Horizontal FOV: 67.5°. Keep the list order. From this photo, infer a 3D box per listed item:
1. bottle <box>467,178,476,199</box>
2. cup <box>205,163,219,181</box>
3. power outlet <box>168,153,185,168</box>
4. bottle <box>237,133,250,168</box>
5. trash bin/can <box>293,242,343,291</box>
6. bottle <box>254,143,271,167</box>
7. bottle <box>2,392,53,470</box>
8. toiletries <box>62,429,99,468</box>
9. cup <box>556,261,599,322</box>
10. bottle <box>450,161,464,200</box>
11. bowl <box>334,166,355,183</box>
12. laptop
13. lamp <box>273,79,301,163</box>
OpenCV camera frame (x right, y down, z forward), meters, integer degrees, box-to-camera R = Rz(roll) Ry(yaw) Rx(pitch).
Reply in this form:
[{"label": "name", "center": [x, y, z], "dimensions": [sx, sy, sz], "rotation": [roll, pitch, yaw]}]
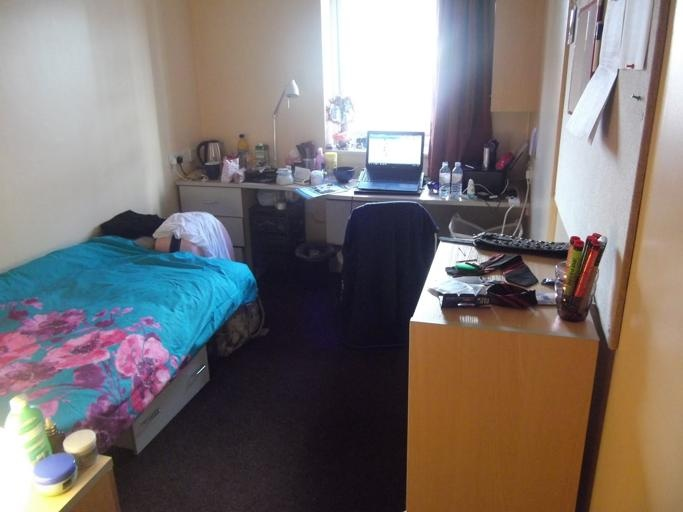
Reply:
[{"label": "bottle", "center": [0.889, -0.461, 3.488], "dimensions": [0.063, 0.108, 0.143], "rotation": [5, 19, 13]}, {"label": "cup", "center": [-1.023, -0.681, 4.104], "dimensions": [0.114, 0.100, 0.112], "rotation": [1, 19, 0]}, {"label": "power outlet", "center": [-1.309, -0.761, 4.050], "dimensions": [0.032, 0.100, 0.093], "rotation": [14, 14, 33]}, {"label": "bottle", "center": [-0.813, -0.882, 4.254], "dimensions": [0.097, 0.263, 0.188], "rotation": [-3, 18, -10]}, {"label": "trash bin/can", "center": [-0.169, 0.082, 3.877], "dimensions": [0.322, 0.281, 0.348], "rotation": [2, 25, 6]}, {"label": "bottle", "center": [-0.649, -0.849, 4.258], "dimensions": [0.128, 0.172, 0.077], "rotation": [-4, 18, -12]}, {"label": "bottle", "center": [-0.894, 0.498, 1.462], "dimensions": [0.085, 0.191, 0.082], "rotation": [0, 18, 0]}, {"label": "toiletries", "center": [-0.768, 0.547, 1.518], "dimensions": [0.095, 0.100, 0.094], "rotation": [7, 10, 38]}, {"label": "cup", "center": [0.721, 0.109, 1.609], "dimensions": [0.130, 0.180, 0.150], "rotation": [0, 12, 6]}, {"label": "bottle", "center": [0.802, -0.532, 3.537], "dimensions": [0.084, 0.209, 0.172], "rotation": [4, 19, 11]}, {"label": "bowl", "center": [0.014, -0.627, 3.944], "dimensions": [0.114, 0.093, 0.125], "rotation": [-1, 23, 0]}, {"label": "laptop", "center": [0.352, -0.673, 3.658], "dimensions": [0.471, 0.414, 0.367], "rotation": [3, 19, 7]}, {"label": "lamp", "center": [-0.431, -1.122, 4.126], "dimensions": [0.272, 0.845, 0.154], "rotation": [-2, 36, -3]}]
